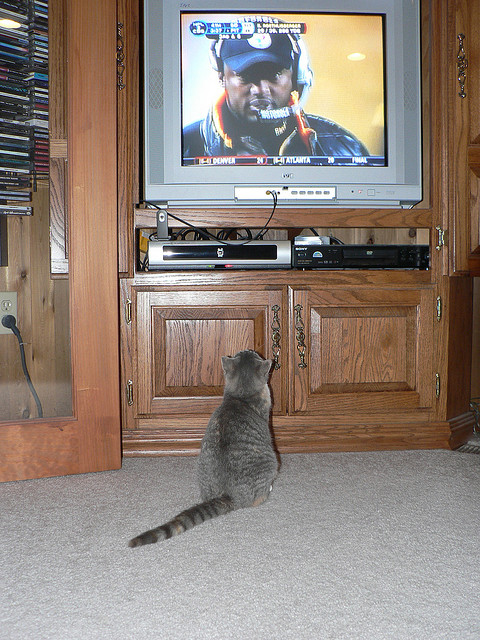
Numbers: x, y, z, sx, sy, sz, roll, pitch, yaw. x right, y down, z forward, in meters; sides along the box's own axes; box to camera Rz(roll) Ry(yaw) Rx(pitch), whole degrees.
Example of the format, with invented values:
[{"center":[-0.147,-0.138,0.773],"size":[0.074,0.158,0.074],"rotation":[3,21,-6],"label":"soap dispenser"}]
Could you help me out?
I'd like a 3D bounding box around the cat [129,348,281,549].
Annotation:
[{"center":[-0.033,0.263,1.396],"size":[0.171,0.581,0.248],"rotation":[11,-34,16],"label":"cat"}]
